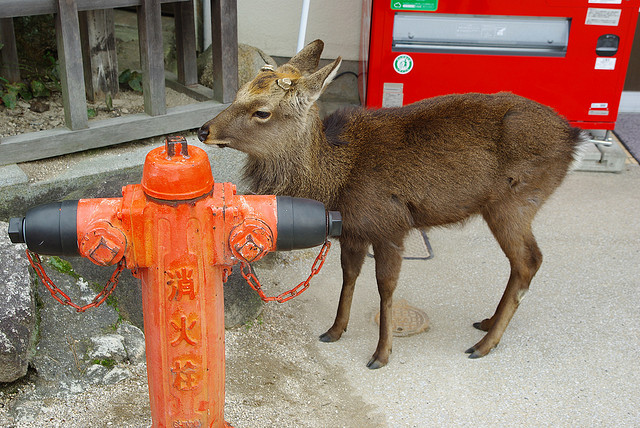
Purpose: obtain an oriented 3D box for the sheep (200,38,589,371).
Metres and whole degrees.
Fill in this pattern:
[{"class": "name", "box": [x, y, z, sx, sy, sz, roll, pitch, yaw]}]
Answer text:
[{"class": "sheep", "box": [0.636, -0.052, 5.247, 3.217, 2.661, 1.089, -4, 18, -16]}]
